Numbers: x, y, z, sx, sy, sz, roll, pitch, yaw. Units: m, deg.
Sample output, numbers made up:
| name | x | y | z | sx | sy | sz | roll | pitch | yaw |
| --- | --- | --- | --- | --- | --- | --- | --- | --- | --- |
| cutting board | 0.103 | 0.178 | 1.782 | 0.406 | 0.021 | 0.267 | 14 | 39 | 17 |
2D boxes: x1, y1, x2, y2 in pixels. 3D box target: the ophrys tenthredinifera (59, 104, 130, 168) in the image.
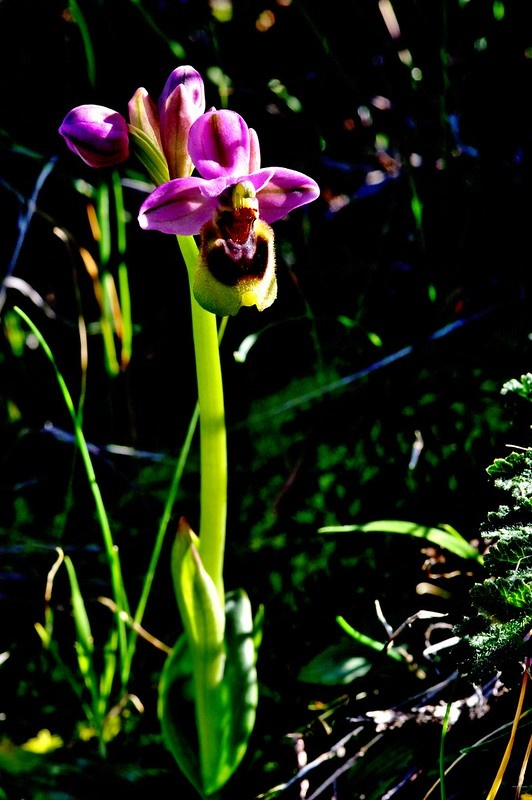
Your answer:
| name | x | y | z | sx | sy | sz | roll | pitch | yaw |
| --- | --- | --- | --- | --- | --- | --- | --- | --- | --- |
| ophrys tenthredinifera | -0.163 | -0.255 | 0.670 | 0.062 | 0.053 | 0.082 | 17 | 17 | 35 |
